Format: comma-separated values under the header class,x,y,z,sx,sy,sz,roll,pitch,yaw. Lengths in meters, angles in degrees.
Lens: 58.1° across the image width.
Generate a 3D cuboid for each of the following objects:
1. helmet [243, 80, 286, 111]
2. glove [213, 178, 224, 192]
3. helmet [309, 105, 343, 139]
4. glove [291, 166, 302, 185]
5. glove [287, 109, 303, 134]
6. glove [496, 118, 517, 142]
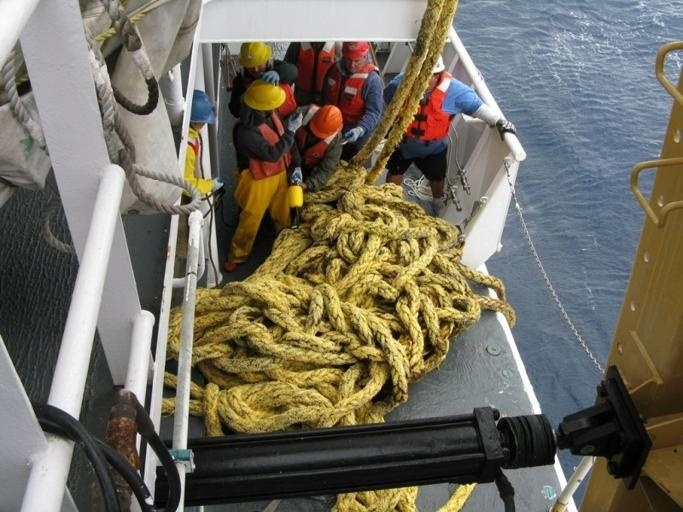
class,x,y,z,sx,sy,sz,roll,pitch,yaw
helmet,-0.727,-1.476,5.685,0.282,0.130,0.304,-10,69,-6
glove,-1.251,-0.715,6.165,0.104,0.207,0.097,0,74,1
helmet,-0.142,-1.377,6.212,0.177,0.299,0.377,-5,40,37
glove,-0.465,-0.798,6.249,0.110,0.058,0.171,-11,84,-19
glove,-0.466,-1.332,6.097,0.062,0.224,0.161,29,16,6
glove,1.643,-1.277,6.150,0.140,0.092,0.253,-5,36,2
